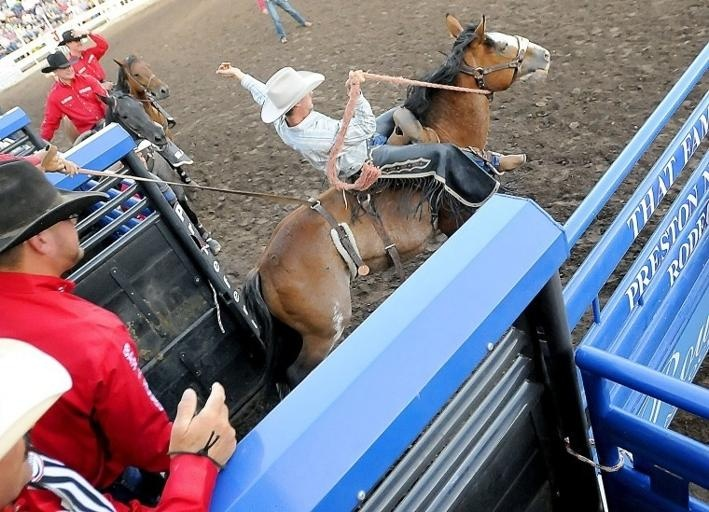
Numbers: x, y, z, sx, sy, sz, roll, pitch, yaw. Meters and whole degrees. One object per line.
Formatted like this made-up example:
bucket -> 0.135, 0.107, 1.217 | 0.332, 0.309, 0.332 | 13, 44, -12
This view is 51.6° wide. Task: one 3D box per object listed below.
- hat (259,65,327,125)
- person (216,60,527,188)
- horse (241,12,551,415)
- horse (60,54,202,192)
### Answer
hat -> -0.388, -1.002, 4.484 | 0.422, 0.298, 0.337 | -18, 44, -3
person -> 0.129, -1.005, 4.908 | 1.671, 0.994, 0.881 | -22, 45, -19
horse -> 0.282, -0.249, 5.067 | 2.790, 1.734, 0.659 | -36, 42, -12
horse -> -2.334, -1.561, 7.679 | 1.442, 1.057, 0.396 | 7, 53, 45
